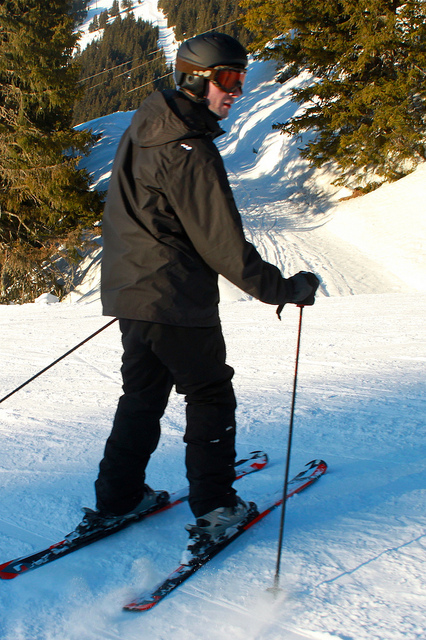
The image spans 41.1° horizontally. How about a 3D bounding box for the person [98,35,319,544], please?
[{"bbox_3d":[-0.064,-0.101,1.993,0.740,1.762,0.355,1,10,8],"label":"person"}]
